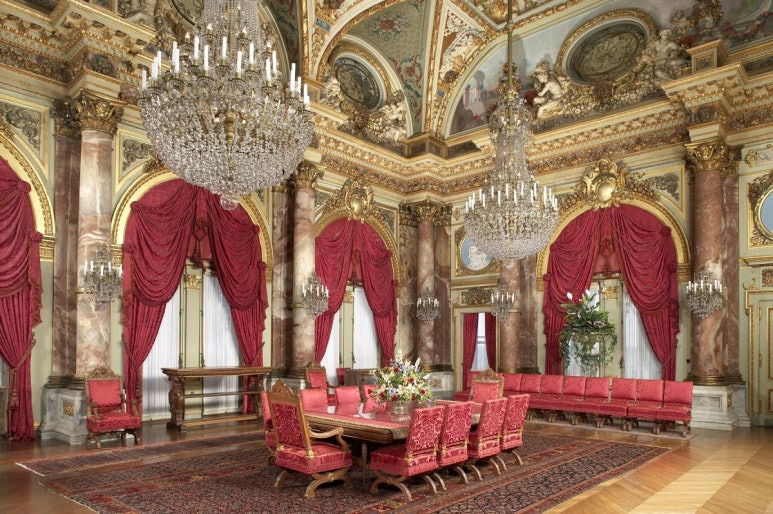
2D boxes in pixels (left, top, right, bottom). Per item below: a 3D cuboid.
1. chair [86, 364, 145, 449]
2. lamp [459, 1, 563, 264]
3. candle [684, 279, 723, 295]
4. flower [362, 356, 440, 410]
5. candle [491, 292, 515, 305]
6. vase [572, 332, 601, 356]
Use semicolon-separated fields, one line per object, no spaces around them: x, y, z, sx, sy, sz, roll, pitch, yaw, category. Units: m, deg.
-5.184;2.841;11.421;0.761;1.369;0.837;-7;-8;44;chair
2.390;-2.024;11.692;1.626;4.376;1.287;1;1;4;lamp
6.911;0.661;13.202;0.654;0.327;0.251;1;1;42;candle
0.244;2.262;10.473;0.894;0.864;0.940;2;-13;-23;flower
2.968;1.075;15.533;0.369;0.246;0.363;1;-6;12;candle
4.847;2.132;14.624;0.573;0.281;0.614;0;-10;8;vase
